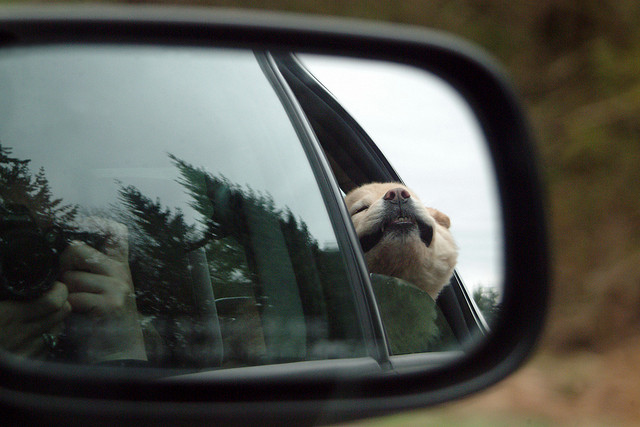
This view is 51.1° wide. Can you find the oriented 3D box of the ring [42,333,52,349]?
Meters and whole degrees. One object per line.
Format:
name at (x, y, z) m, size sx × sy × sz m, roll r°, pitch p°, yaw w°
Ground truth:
ring at (-0.778, 0.360, 1.902) m, size 0.012 × 0.056 × 0.015 m, roll -16°, pitch 5°, yaw 43°
